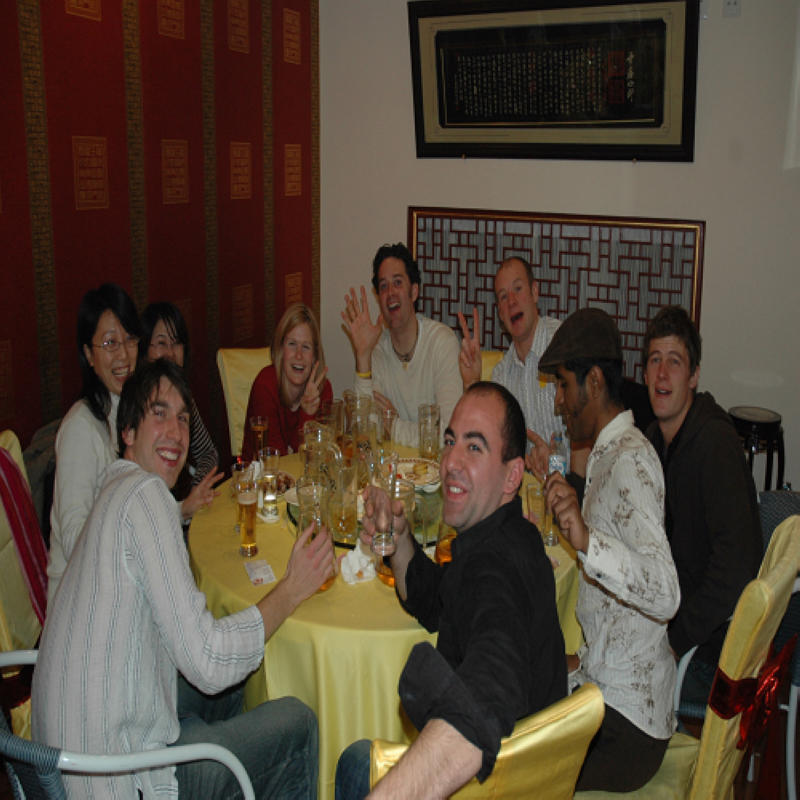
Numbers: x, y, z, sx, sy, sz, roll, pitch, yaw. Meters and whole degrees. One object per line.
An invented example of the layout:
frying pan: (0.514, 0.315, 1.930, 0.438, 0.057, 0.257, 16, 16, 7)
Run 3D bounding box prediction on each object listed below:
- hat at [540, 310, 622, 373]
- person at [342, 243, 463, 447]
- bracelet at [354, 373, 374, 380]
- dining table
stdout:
hat: (0.517, -0.154, 2.002, 0.175, 0.158, 0.158, 4, -1, -3)
person: (-0.009, -0.250, 3.564, 0.476, 1.081, 0.547, -5, 2, -8)
bracelet: (-0.164, -0.110, 3.315, 0.071, 0.037, 0.055, -6, 10, -22)
dining table: (-0.248, 0.624, 2.065, 0.745, 0.631, 0.772, 22, 26, 35)
